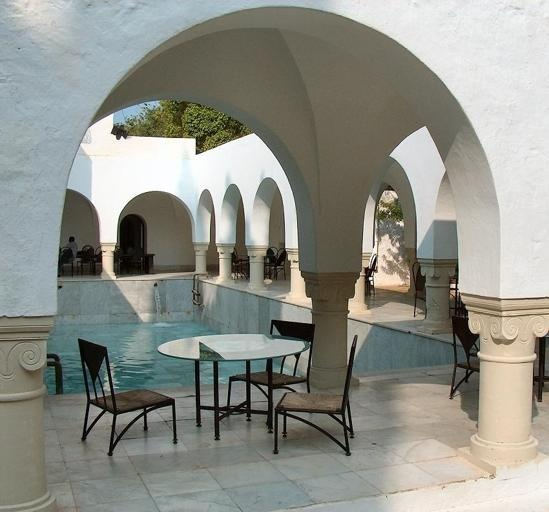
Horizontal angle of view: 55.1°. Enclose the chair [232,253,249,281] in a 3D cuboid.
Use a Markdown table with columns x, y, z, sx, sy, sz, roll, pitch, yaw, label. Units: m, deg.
| x | y | z | sx | sy | sz | roll | pitch | yaw | label |
| --- | --- | --- | --- | --- | --- | --- | --- | --- | --- |
| -1.457 | 0.371 | 20.988 | 0.831 | 1.462 | 0.950 | 0 | 3 | 6 | chair |
